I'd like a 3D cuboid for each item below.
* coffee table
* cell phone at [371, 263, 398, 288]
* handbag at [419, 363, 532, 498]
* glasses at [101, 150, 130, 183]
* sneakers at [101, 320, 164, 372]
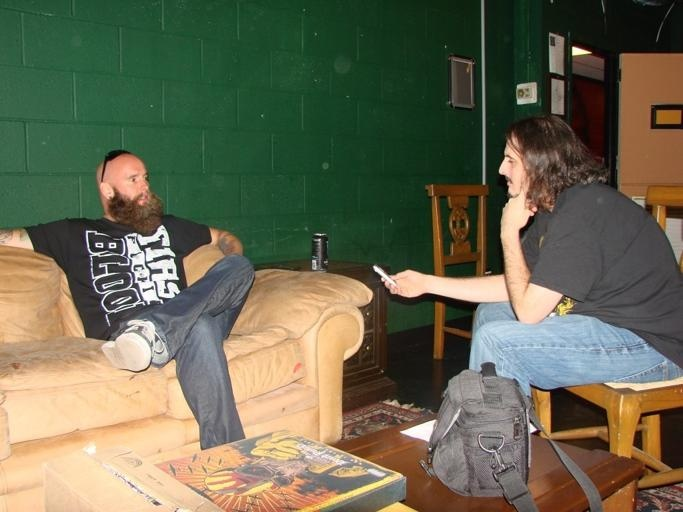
[{"bbox_3d":[0.073,0.282,3.268,0.693,0.967,0.976,3,8,39],"label":"coffee table"},{"bbox_3d":[0.217,0.106,2.740,0.045,0.169,0.062,-45,4,31],"label":"cell phone"},{"bbox_3d":[0.341,0.466,1.439,0.222,0.311,0.289,0,5,-14],"label":"handbag"},{"bbox_3d":[-1.135,-0.435,2.590,0.161,0.171,0.045,0,-6,-18],"label":"glasses"},{"bbox_3d":[-0.733,0.334,1.912,0.187,0.185,0.077,-15,18,33],"label":"sneakers"}]
